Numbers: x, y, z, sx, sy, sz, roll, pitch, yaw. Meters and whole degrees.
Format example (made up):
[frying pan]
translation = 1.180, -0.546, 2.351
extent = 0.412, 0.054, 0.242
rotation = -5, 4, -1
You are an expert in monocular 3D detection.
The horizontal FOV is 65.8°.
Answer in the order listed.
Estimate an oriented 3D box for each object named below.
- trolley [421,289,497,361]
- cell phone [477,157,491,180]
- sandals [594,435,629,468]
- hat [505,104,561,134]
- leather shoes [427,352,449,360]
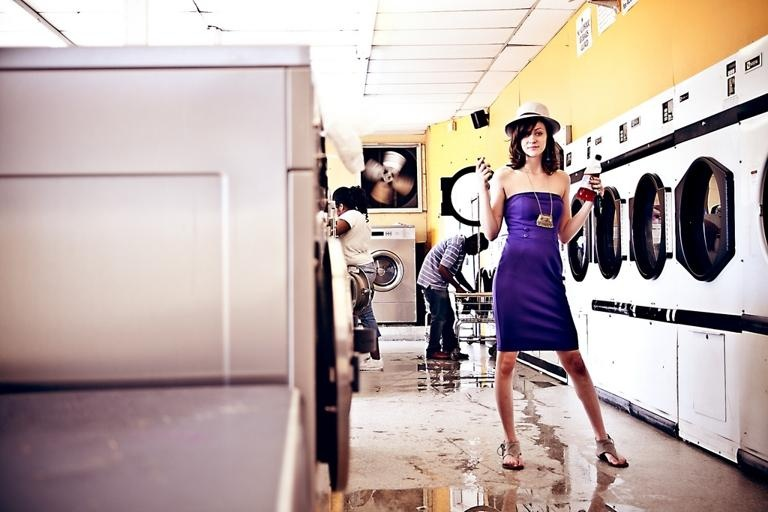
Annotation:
[trolley]
translation = 0.854, 0.626, 5.762
extent = 0.445, 0.682, 0.724
rotation = -5, 1, 27
[cell phone]
translation = 0.492, -0.416, 2.854
extent = 0.034, 0.084, 0.108
rotation = -6, -39, 25
[sandals]
translation = 1.097, 0.916, 2.837
extent = 0.067, 0.075, 0.189
rotation = -8, 10, -3
[hat]
translation = 0.741, -0.688, 2.899
extent = 0.276, 0.099, 0.219
rotation = 0, 5, -35
[leather shoes]
translation = 0.526, 0.961, 5.729
extent = 0.197, 0.085, 0.073
rotation = -2, -8, 8
